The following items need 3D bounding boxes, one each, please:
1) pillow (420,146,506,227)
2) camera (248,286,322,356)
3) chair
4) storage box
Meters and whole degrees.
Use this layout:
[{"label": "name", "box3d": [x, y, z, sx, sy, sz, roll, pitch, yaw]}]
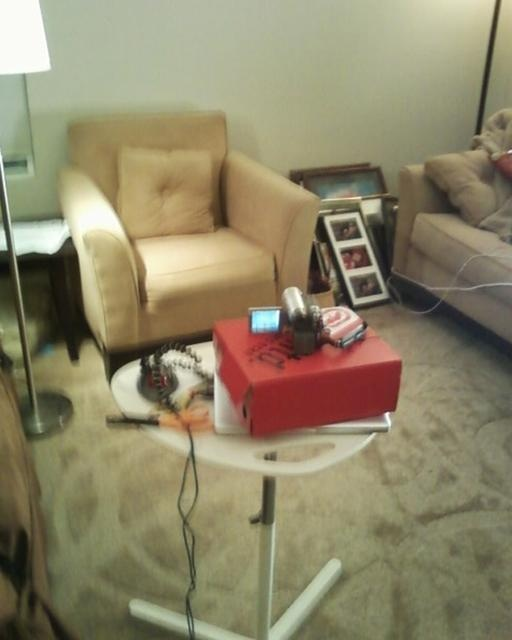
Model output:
[{"label": "pillow", "box3d": [0.339, -0.217, 0.844, 0.073, 0.102, 0.128, -17, 35, -29]}, {"label": "camera", "box3d": [0.023, 0.001, 0.467, 0.060, 0.037, 0.047, -1, 32, -9]}, {"label": "chair", "box3d": [-0.146, -0.175, 0.966, 0.434, 0.412, 0.349, -19, 48, -26]}, {"label": "storage box", "box3d": [0.042, 0.039, 0.486, 0.149, 0.068, 0.120, -7, 32, -15]}]
